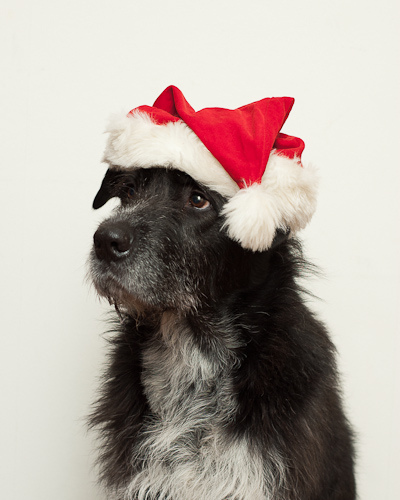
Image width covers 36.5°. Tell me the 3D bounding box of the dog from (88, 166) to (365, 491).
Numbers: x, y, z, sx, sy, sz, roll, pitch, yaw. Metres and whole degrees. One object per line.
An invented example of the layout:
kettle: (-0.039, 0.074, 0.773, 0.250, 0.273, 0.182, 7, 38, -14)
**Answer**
dog: (0.086, 0.251, 2.194, 0.974, 1.184, 0.703, 3, -23, -10)
